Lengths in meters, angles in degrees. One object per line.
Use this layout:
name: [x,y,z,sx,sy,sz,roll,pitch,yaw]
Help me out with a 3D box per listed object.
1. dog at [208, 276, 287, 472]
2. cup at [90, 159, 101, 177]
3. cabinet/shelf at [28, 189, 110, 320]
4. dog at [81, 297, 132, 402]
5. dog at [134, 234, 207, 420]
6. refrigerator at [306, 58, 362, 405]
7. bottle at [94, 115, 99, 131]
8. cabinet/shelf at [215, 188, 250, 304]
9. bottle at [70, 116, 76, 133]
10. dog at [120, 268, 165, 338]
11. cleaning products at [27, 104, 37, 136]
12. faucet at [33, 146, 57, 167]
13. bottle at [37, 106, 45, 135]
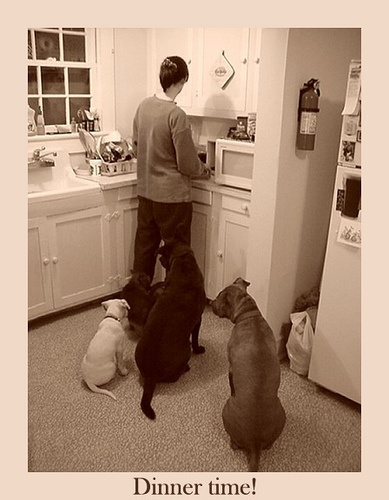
dog: [0.219,0.480,1.417,0.228,0.628,0.507,0,7,-10]
cup: [-0.731,-0.602,2.678,0.061,0.115,0.063,2,28,-1]
cabinet/shelf: [-0.818,0.019,2.322,0.296,0.639,0.522,13,21,40]
dog: [-0.423,0.470,1.796,0.180,0.368,0.433,1,7,8]
dog: [-0.152,0.280,1.928,0.193,0.449,0.974,2,53,16]
refrigerator: [0.653,-0.029,1.639,0.244,1.490,0.262,5,6,30]
bottle: [-0.796,-1.031,2.952,0.051,0.132,0.040,-1,6,-20]
cabinet/shelf: [0.262,0.095,2.448,0.246,0.736,0.249,4,-29,3]
bottle: [-0.965,-0.998,2.900,0.048,0.136,0.102,-1,7,-20]
dog: [-0.298,0.289,2.108,0.215,0.386,0.110,-13,-24,40]
cleaning products: [-1.186,-0.927,2.672,0.046,0.187,0.182,-1,8,-19]
faucet: [-1.072,-0.674,2.611,0.148,0.131,0.089,-17,34,-35]
bottle: [-1.149,-0.951,2.714,0.059,0.184,0.101,-1,7,-22]
